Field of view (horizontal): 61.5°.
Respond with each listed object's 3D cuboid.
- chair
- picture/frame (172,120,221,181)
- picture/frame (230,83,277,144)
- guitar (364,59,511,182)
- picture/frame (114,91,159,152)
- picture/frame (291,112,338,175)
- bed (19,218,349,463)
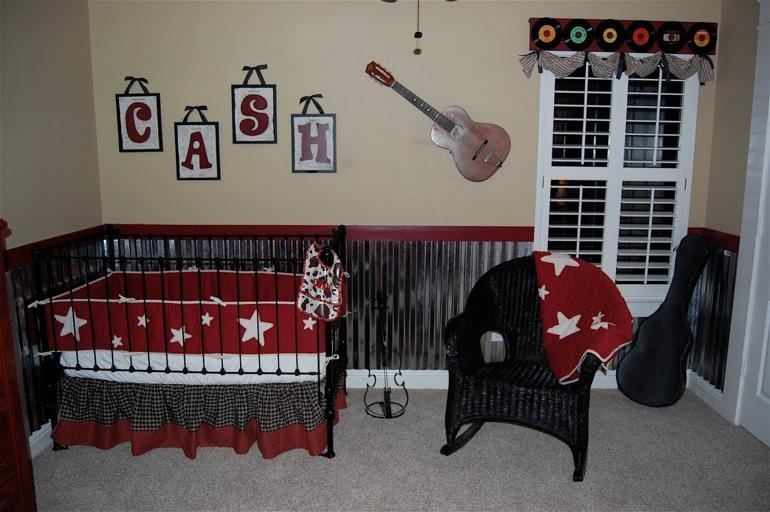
[{"bbox_3d":[1.090,0.743,4.556,1.148,1.465,1.265,3,8,22],"label":"chair"},{"bbox_3d":[-1.497,-0.854,5.145,0.393,0.577,0.025,0,10,-1],"label":"picture/frame"},{"bbox_3d":[-1.034,-1.136,5.093,0.382,0.521,0.033,0,6,-3],"label":"picture/frame"},{"bbox_3d":[0.460,-1.085,5.189,1.451,0.594,0.197,42,7,2],"label":"guitar"},{"bbox_3d":[-1.975,-1.081,5.131,0.391,0.568,0.008,0,9,-2],"label":"picture/frame"},{"bbox_3d":[-0.559,-0.906,5.113,0.380,0.515,0.018,-1,8,0],"label":"picture/frame"},{"bbox_3d":[-1.234,0.467,4.890,2.230,1.714,1.334,-2,22,14],"label":"bed"}]
